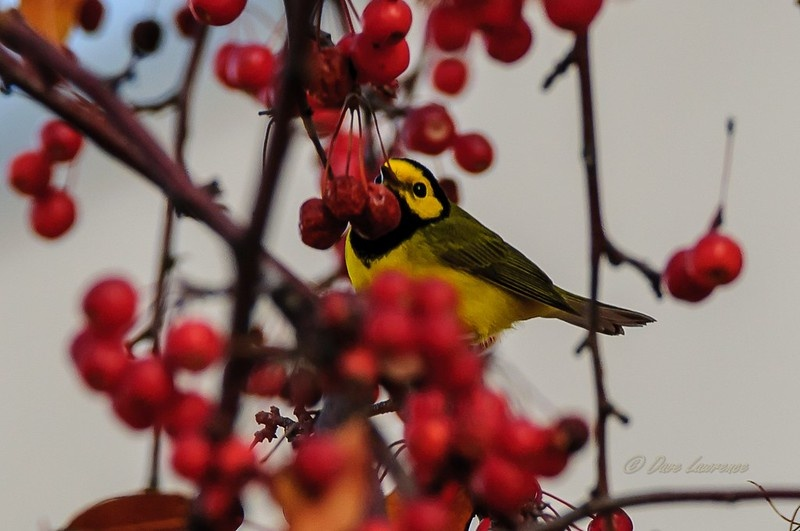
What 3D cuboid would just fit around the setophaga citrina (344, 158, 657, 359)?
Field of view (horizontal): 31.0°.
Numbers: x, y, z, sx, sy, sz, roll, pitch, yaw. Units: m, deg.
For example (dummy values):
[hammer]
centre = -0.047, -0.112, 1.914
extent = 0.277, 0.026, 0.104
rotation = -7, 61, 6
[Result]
[setophaga citrina]
centre = 0.201, -0.011, 2.621
extent = 0.469, 0.324, 0.148
rotation = 2, 5, 29
